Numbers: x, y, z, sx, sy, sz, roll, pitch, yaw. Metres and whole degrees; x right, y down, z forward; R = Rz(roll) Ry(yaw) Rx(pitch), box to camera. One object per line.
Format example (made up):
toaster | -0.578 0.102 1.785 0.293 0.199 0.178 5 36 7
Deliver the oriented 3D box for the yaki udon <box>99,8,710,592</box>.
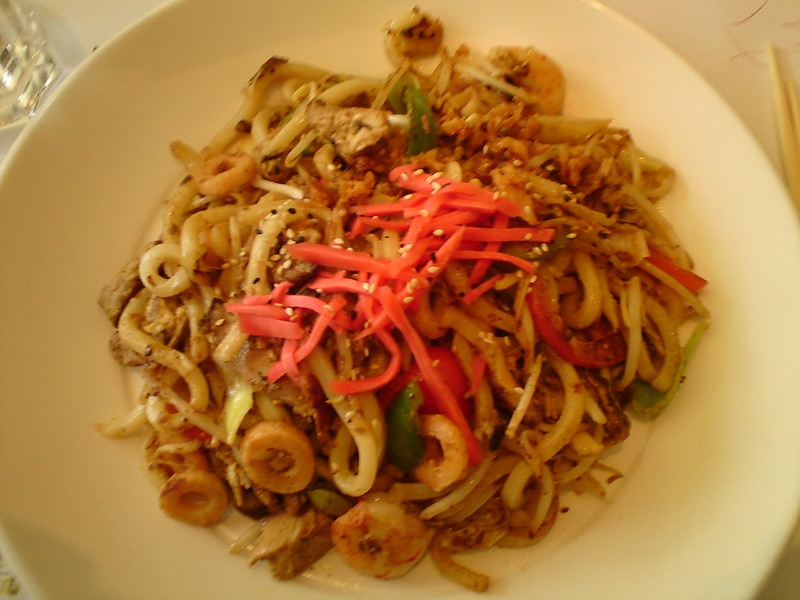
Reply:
yaki udon | 0.065 0.108 3.510 3.495 2.969 0.918 2 1 -1
